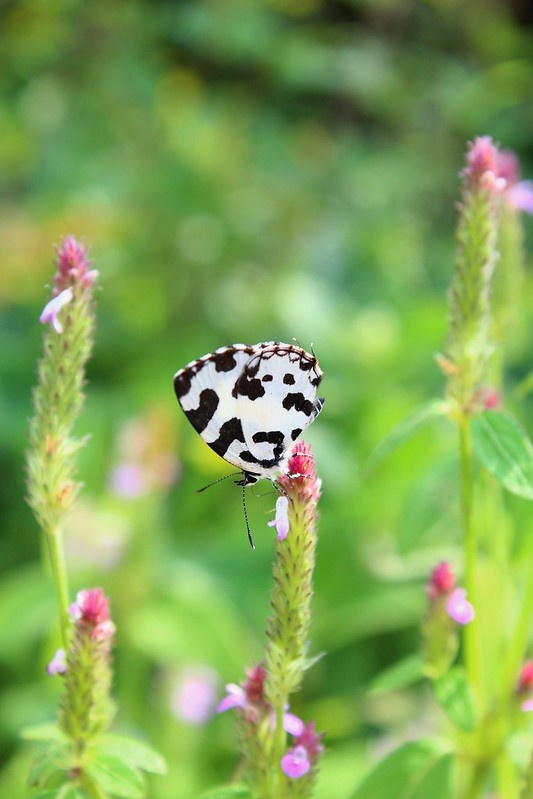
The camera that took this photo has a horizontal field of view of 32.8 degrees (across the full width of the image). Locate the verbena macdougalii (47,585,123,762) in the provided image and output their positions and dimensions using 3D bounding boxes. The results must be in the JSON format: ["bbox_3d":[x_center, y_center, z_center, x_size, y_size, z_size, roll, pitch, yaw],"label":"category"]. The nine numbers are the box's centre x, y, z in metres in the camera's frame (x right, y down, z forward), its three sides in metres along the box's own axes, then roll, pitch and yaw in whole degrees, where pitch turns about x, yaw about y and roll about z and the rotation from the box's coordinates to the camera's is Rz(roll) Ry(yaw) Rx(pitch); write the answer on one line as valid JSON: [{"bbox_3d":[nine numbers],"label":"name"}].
[{"bbox_3d":[-0.222,0.328,1.108,0.086,0.211,0.061,-11,22,-16],"label":"verbena macdougalii"}]

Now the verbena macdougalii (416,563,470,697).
[{"bbox_3d":[0.232,0.295,1.173,0.061,0.158,0.071,-2,21,6],"label":"verbena macdougalii"}]
